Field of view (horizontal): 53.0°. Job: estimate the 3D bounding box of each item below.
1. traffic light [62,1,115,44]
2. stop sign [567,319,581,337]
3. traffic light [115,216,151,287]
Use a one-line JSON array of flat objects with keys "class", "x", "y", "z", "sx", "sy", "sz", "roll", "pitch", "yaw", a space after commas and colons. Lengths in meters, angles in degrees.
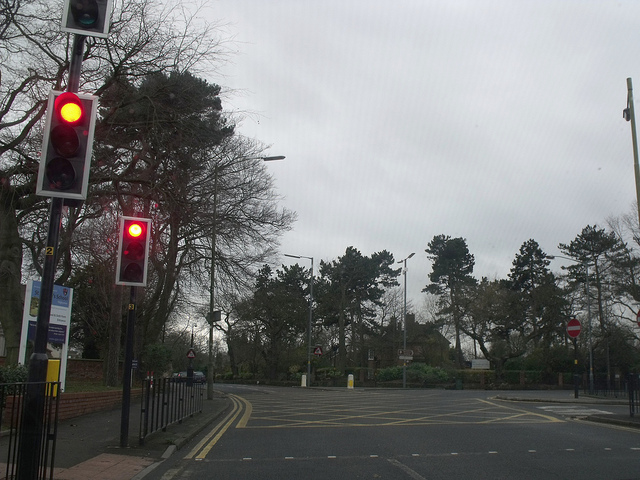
[{"class": "traffic light", "x": -4.490, "y": -4.327, "z": 12.402, "sx": 0.830, "sy": 0.823, "sz": 0.372, "roll": 5, "pitch": -9, "yaw": -25}, {"class": "stop sign", "x": 14.664, "y": 4.999, "z": 37.100, "sx": 0.648, "sy": 0.999, "sz": 1.235, "roll": -3, "pitch": -9, "yaw": 21}, {"class": "traffic light", "x": -4.668, "y": 0.252, "z": 16.180, "sx": 0.722, "sy": 1.897, "sz": 0.341, "roll": 5, "pitch": -27, "yaw": -18}]
